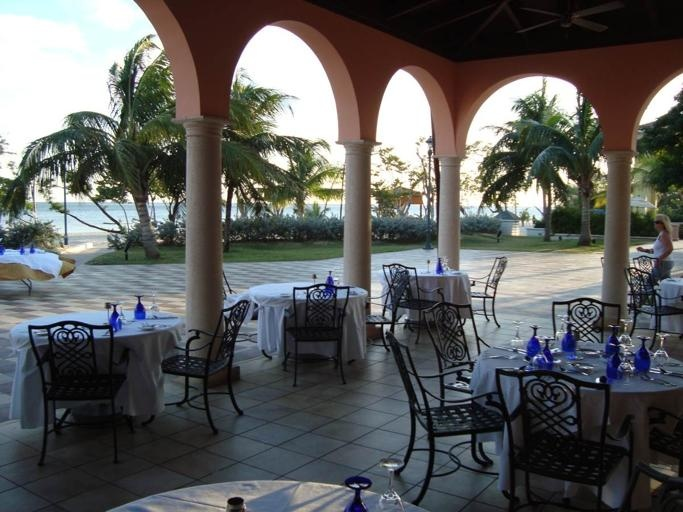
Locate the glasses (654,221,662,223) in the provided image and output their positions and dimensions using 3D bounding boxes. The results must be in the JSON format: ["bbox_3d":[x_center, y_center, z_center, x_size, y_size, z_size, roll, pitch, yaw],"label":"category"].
[{"bbox_3d":[5.453,-0.558,8.939,0.061,0.040,0.180,0,6,-1],"label":"glasses"}]

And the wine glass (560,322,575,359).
[{"bbox_3d":[2.001,0.737,4.558,0.118,0.274,0.304,3,7,24],"label":"wine glass"}]

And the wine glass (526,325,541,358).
[{"bbox_3d":[1.588,0.706,4.276,0.110,0.319,0.412,3,7,19],"label":"wine glass"}]

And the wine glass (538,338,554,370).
[{"bbox_3d":[1.639,0.799,4.116,0.093,0.225,0.263,3,7,22],"label":"wine glass"}]
